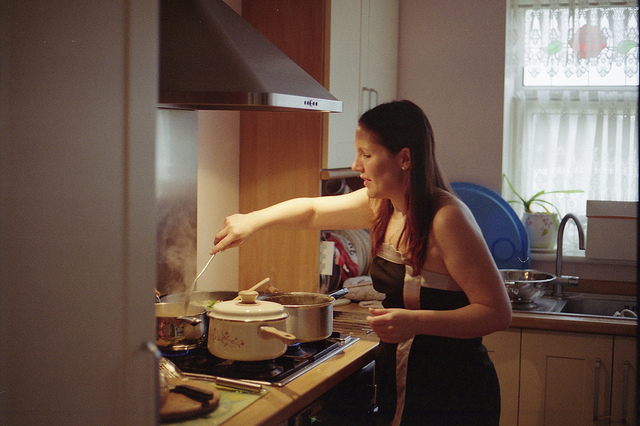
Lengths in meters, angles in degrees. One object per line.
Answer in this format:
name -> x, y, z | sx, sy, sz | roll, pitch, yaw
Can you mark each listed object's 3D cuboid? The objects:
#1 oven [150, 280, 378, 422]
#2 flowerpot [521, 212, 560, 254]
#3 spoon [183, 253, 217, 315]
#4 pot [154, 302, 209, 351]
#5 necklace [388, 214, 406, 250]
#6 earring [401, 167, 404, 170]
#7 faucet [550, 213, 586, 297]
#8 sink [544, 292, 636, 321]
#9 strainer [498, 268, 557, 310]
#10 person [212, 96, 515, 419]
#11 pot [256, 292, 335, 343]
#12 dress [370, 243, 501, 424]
oven -> -0.199, 0.380, 1.931 | 0.728, 0.330, 0.787 | 2, 4, 24
flowerpot -> 1.295, 0.106, 3.218 | 0.222, 0.250, 0.230 | 5, 18, 40
spoon -> -0.461, 0.270, 2.099 | 0.024, 0.220, 0.025 | 19, -18, 0
pot -> -0.417, 0.361, 1.671 | 0.164, 0.115, 0.286 | -1, 1, -20
necklace -> 0.249, 0.064, 1.870 | 0.026, 0.105, 0.004 | 3, -26, 30
earring -> 0.262, -0.139, 1.741 | 0.006, 0.011, 0.006 | 3, 12, 17
faucet -> 1.189, 0.223, 2.756 | 0.113, 0.406, 0.228 | 5, 11, 24
sink -> 1.374, 0.463, 2.743 | 0.255, 0.164, 0.260 | -1, -5, 22
strainer -> 0.979, 0.352, 2.597 | 0.274, 0.134, 0.335 | 1, 2, -9
person -> 0.299, 0.142, 2.568 | 1.130, 1.952, 0.975 | 1, 3, 3
pot -> -0.103, 0.348, 1.862 | 0.258, 0.137, 0.345 | 7, -3, 21
dress -> 0.382, 0.419, 1.813 | 0.428, 0.616, 0.172 | 1, 3, 4
